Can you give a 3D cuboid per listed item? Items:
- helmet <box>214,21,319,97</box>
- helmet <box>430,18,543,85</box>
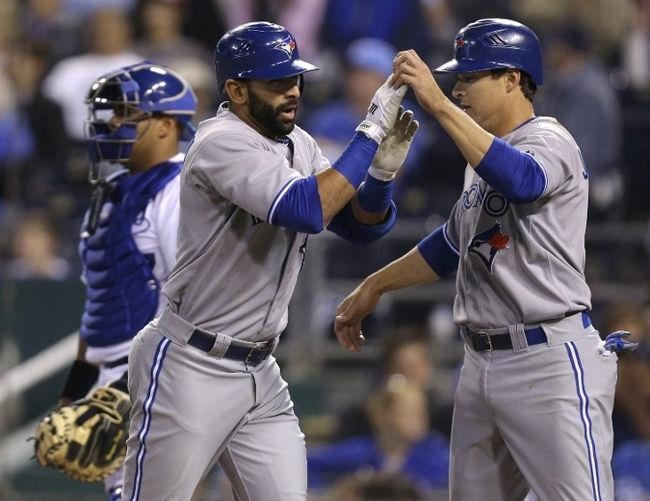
[{"bbox_3d":[-0.323,-1.005,6.323,0.452,0.225,0.329,-3,5,19],"label":"helmet"},{"bbox_3d":[0.904,-1.063,6.481,0.485,0.254,0.349,3,2,-3],"label":"helmet"}]
